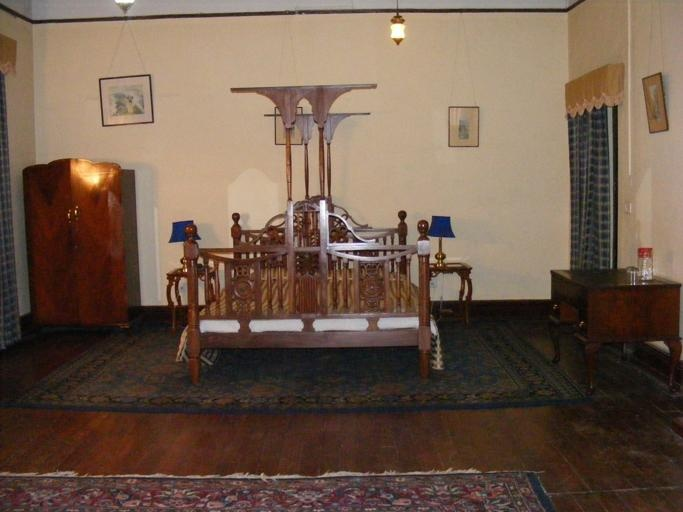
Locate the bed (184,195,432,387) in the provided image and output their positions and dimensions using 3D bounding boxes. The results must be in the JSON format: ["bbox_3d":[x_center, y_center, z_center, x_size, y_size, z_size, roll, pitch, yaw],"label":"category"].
[{"bbox_3d":[-0.366,0.466,6.554,1.907,1.400,2.033,0,6,1],"label":"bed"}]

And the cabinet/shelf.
[{"bbox_3d":[-3.187,-0.107,7.123,1.191,1.966,0.361,-1,13,1],"label":"cabinet/shelf"}]

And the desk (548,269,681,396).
[{"bbox_3d":[2.460,0.518,5.575,0.888,1.031,1.274,0,4,3],"label":"desk"}]

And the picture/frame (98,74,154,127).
[{"bbox_3d":[-2.737,-1.965,7.596,0.550,0.536,0.039,-2,2,-2],"label":"picture/frame"}]

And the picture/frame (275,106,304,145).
[{"bbox_3d":[-0.665,-1.582,7.532,0.381,0.465,0.247,-3,13,-7],"label":"picture/frame"}]

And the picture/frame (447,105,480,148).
[{"bbox_3d":[1.560,-1.617,7.561,0.449,0.636,0.044,0,2,-3],"label":"picture/frame"}]
